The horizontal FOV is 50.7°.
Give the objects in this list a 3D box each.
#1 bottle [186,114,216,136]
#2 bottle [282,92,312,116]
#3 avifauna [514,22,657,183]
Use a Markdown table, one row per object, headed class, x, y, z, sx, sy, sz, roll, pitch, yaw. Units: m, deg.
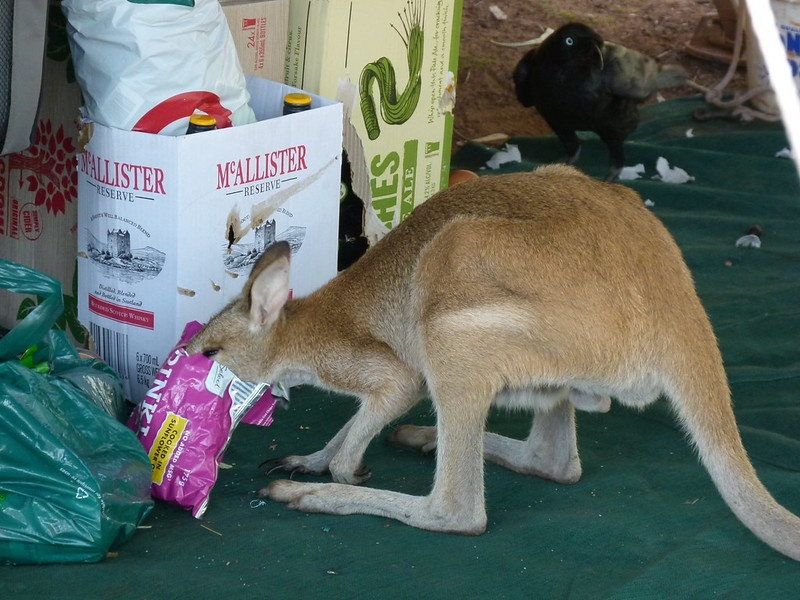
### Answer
| class | x | y | z | sx | sy | sz | roll | pitch | yaw |
| --- | --- | --- | --- | --- | --- | --- | --- | --- | --- |
| bottle | -0.706 | -0.626 | 3.009 | 0.087 | 0.083 | 0.087 | -3 | 22 | -24 |
| bottle | -0.404 | -0.769 | 3.301 | 0.102 | 0.097 | 0.103 | -3 | 16 | -8 |
| avifauna | 1.088 | -1.367 | 5.239 | 0.791 | 1.024 | 0.715 | 4 | 28 | 11 |
